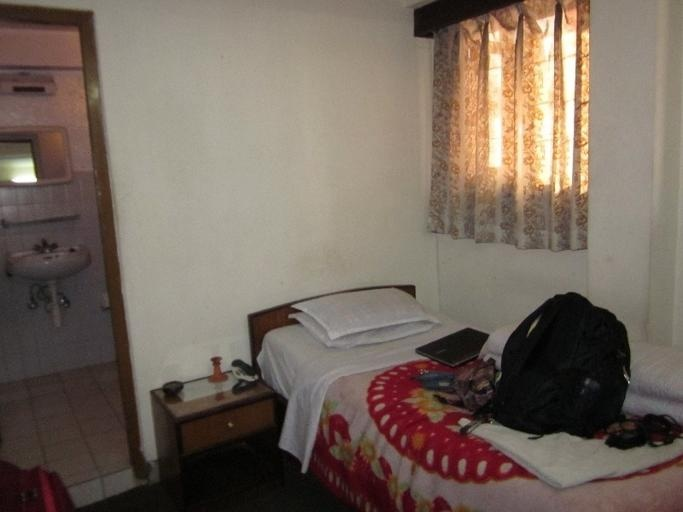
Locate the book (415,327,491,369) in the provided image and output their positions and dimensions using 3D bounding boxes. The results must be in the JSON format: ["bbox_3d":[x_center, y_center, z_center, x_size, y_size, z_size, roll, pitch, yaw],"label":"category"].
[{"bbox_3d":[0.693,0.544,3.432,0.333,0.036,0.199,-15,21,-42],"label":"book"}]

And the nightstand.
[{"bbox_3d":[-0.737,0.929,3.517,0.740,0.727,0.596,-9,14,-32],"label":"nightstand"}]

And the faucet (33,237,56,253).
[{"bbox_3d":[-2.350,-0.073,4.563,0.117,0.065,0.138,-4,21,-29],"label":"faucet"}]

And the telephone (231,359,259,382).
[{"bbox_3d":[-0.599,0.701,3.566,0.159,0.082,0.100,11,13,34],"label":"telephone"}]

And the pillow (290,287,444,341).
[{"bbox_3d":[0.174,0.352,3.731,0.597,0.147,0.404,-7,25,-28],"label":"pillow"}]
